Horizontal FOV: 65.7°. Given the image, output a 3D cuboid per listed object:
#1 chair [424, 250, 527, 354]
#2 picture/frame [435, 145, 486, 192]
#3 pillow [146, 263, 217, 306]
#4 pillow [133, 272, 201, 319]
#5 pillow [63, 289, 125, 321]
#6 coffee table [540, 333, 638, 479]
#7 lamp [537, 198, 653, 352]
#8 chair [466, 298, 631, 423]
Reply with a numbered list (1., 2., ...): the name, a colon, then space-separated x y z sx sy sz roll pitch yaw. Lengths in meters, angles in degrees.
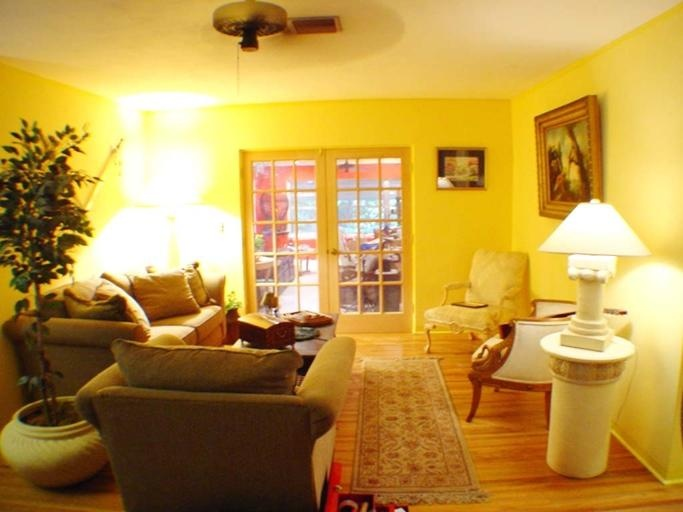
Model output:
1. chair: 1.432 0.510 5.538 0.876 0.939 0.767 -13 15 -39
2. picture/frame: 1.376 -1.023 6.043 0.604 0.435 0.044 0 2 -1
3. pillow: -1.550 0.316 5.666 0.567 0.510 0.233 -9 -5 -18
4. pillow: -1.744 0.389 5.199 0.532 0.462 0.158 -12 -22 -49
5. pillow: -1.948 0.421 4.242 0.347 0.111 0.323 4 -1 0
6. coffee table: 1.662 1.049 3.611 0.577 0.916 0.346 1 5 22
7. lamp: 1.680 0.133 3.536 0.648 1.014 0.258 1 5 18
8. chair: 1.743 0.742 4.400 1.029 1.012 1.097 2 3 30
